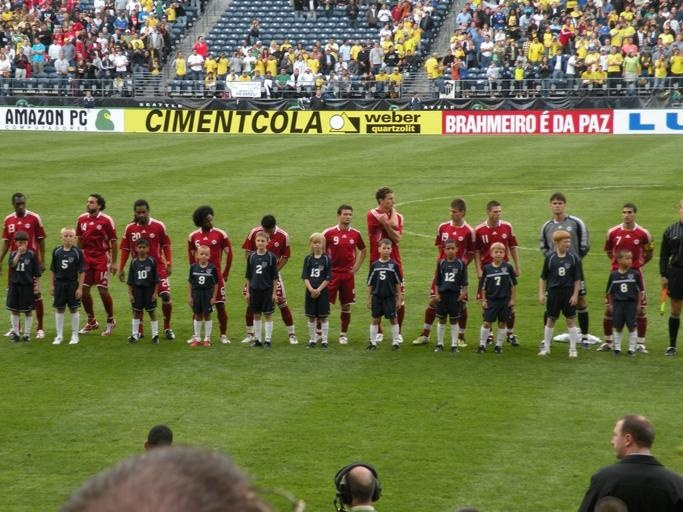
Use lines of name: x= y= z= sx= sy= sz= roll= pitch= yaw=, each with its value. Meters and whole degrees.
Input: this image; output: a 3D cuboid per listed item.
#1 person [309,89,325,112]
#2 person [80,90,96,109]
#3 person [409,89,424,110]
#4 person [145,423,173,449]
person: x=-0.892 y=-5.968 z=51.761 sx=0.580 sy=0.789 sz=0.619 roll=-1 pitch=1 yaw=-2
person: x=-9.894 y=-6.222 z=53.631 sx=0.489 sy=0.765 sz=0.874 roll=-1 pitch=1 yaw=-10
person: x=2.786 y=-5.837 z=51.121 sx=0.492 sy=0.716 sz=1.382 roll=-1 pitch=1 yaw=3
person: x=-2.739 y=2.769 z=20.580 sx=0.367 sy=0.367 sz=1.087 roll=-1 pitch=1 yaw=-10
